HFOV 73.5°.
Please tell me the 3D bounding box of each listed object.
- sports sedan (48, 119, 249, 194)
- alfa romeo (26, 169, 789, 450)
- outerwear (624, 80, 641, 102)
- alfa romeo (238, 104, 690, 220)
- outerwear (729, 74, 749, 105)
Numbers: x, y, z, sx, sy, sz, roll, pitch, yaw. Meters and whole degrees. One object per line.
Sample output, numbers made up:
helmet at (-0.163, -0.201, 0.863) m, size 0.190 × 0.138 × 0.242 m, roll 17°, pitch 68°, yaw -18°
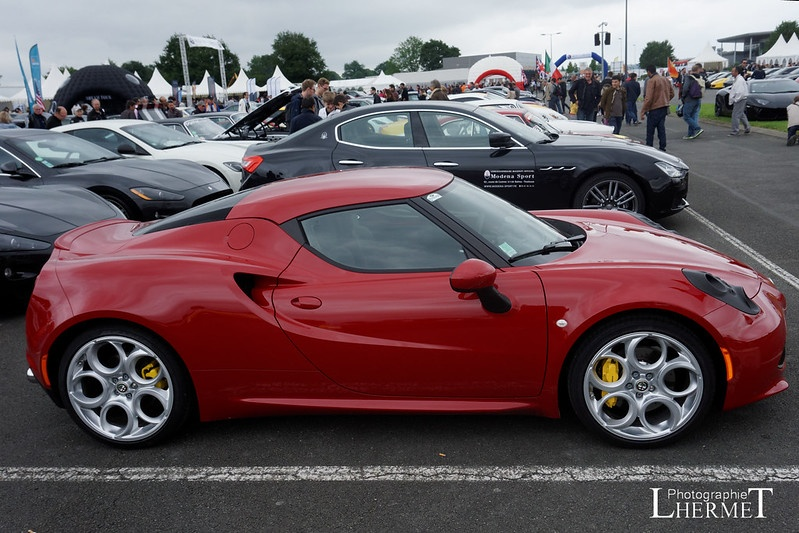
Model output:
sports sedan at (-5.788, -2.356, 11.803) m, size 5.387 × 1.434 × 2.451 m, roll -1°, pitch 16°, yaw -6°
alfa romeo at (0.018, 0.153, 4.810) m, size 5.978 × 1.583 × 2.886 m, roll -2°, pitch 14°, yaw -1°
outerwear at (8.896, -6.743, 20.659) m, size 0.544 × 0.780 × 2.103 m, roll 5°, pitch 20°, yaw 22°
alfa romeo at (0.933, -1.719, 8.383) m, size 6.077 × 1.518 × 2.420 m, roll -1°, pitch 19°, yaw 3°
outerwear at (12.018, -6.239, 19.043) m, size 0.463 × 0.915 × 0.931 m, roll 7°, pitch 22°, yaw 28°
